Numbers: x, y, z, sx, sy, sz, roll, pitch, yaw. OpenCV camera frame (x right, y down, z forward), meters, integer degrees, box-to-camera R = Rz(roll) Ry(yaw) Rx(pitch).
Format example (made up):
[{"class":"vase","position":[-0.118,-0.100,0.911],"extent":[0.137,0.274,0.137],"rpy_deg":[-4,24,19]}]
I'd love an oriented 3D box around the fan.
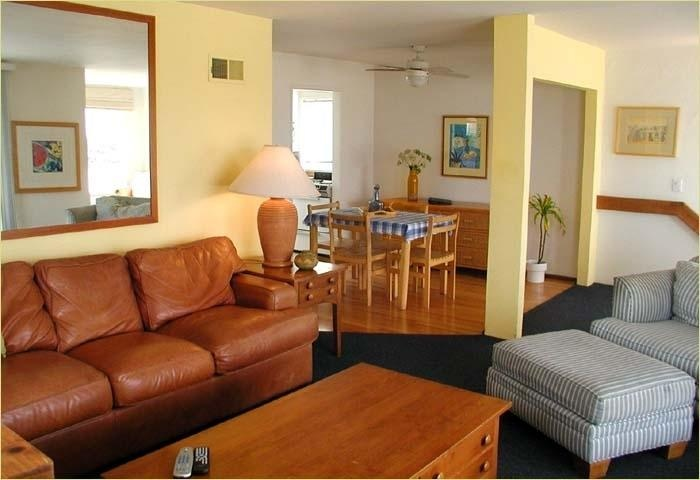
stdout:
[{"class":"fan","position":[0.789,-2.063,5.924],"extent":[1.069,0.436,0.967],"rpy_deg":[15,23,28]}]

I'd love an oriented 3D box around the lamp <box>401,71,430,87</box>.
[{"class":"lamp","position":[0.776,-1.867,5.816],"extent":[0.242,0.158,0.237],"rpy_deg":[-1,3,-19]}]

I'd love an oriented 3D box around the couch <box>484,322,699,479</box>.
[{"class":"couch","position":[1.684,0.956,3.338],"extent":[0.927,0.547,0.984],"rpy_deg":[-7,13,-23]}]

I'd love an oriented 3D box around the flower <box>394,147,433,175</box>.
[{"class":"flower","position":[1.010,-1.219,7.869],"extent":[0.462,0.220,0.468],"rpy_deg":[3,6,41]}]

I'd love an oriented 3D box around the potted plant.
[{"class":"potted plant","position":[2.651,-0.025,6.817],"extent":[0.506,1.184,0.583],"rpy_deg":[4,12,25]}]

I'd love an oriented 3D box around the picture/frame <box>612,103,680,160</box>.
[{"class":"picture/frame","position":[3.688,-1.355,6.192],"extent":[0.746,0.636,0.078],"rpy_deg":[5,8,36]}]

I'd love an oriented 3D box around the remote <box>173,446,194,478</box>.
[{"class":"remote","position":[-0.798,1.058,2.386],"extent":[0.067,0.021,0.200],"rpy_deg":[1,11,-10]}]

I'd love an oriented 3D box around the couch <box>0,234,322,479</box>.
[{"class":"couch","position":[-1.467,0.671,3.470],"extent":[1.302,1.096,2.305],"rpy_deg":[8,11,36]}]

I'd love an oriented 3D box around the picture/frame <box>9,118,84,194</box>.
[{"class":"picture/frame","position":[-2.225,-0.615,3.618],"extent":[0.025,0.636,0.565],"rpy_deg":[5,8,40]}]
